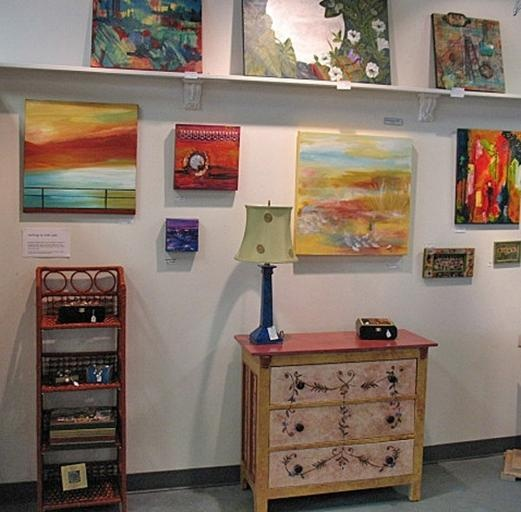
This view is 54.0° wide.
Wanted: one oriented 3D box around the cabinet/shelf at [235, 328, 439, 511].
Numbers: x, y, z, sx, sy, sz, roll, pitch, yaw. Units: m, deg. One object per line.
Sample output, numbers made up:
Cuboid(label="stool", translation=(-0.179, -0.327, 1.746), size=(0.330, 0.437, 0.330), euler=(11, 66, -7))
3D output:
Cuboid(label="cabinet/shelf", translation=(0.431, 0.997, 3.059), size=(0.902, 0.930, 0.413), euler=(-1, 4, -12))

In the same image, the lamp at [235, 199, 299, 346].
Cuboid(label="lamp", translation=(0.053, 0.096, 3.051), size=(0.342, 0.826, 0.430), euler=(3, 9, 16))
